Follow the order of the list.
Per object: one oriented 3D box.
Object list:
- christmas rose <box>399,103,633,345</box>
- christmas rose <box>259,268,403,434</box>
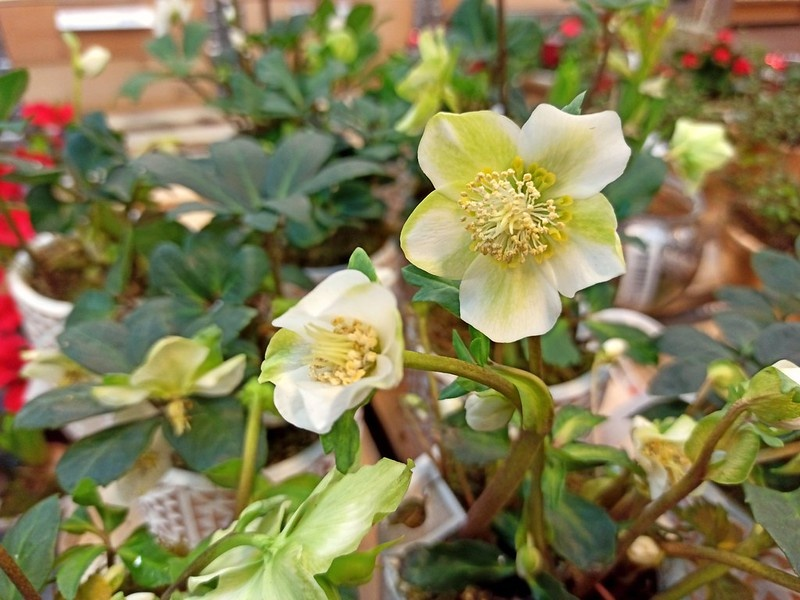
[{"bbox_3d":[0.066,-0.047,0.378,0.128,0.105,0.101,2,48,-1],"label":"christmas rose"},{"bbox_3d":[-0.040,0.030,0.357,0.083,0.068,0.069,2,48,-2],"label":"christmas rose"}]
